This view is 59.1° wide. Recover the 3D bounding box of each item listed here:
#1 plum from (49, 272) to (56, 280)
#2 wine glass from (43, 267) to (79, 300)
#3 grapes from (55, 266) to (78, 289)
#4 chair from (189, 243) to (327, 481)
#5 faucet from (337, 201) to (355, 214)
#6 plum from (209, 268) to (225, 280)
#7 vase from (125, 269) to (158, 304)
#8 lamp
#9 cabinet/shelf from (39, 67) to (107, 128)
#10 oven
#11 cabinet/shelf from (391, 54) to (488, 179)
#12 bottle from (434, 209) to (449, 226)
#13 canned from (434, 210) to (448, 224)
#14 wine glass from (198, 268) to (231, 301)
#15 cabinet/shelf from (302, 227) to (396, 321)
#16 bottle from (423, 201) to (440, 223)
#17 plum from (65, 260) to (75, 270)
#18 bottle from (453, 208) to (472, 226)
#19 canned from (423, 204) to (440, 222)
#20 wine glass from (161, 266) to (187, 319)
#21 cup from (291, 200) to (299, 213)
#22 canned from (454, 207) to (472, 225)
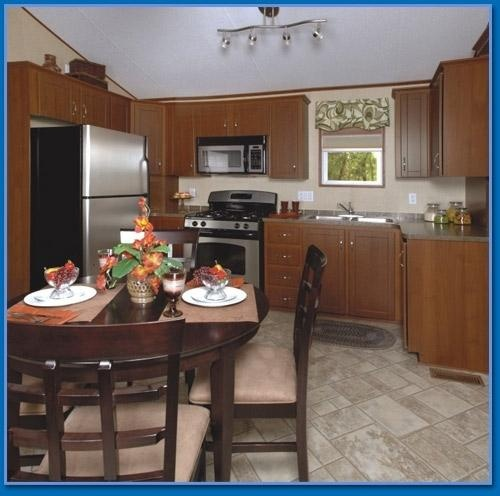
[{"bbox_3d":[-0.816,0.109,1.808,0.030,0.031,0.017,1,6,6],"label":"plum"},{"bbox_3d":[-0.813,0.143,1.881,0.136,0.128,0.131,2,9,1],"label":"wine glass"},{"bbox_3d":[-0.773,0.123,1.859,0.081,0.062,0.076,3,5,4],"label":"grapes"},{"bbox_3d":[0.083,0.434,2.364,0.814,1.405,0.823,1,1,2],"label":"chair"},{"bbox_3d":[0.949,-0.397,4.326,0.173,0.120,0.167,2,10,11],"label":"faucet"},{"bbox_3d":[-0.134,0.102,1.862,0.052,0.077,0.053,-3,7,-2],"label":"plum"},{"bbox_3d":[-0.452,0.152,1.848,0.112,0.121,0.115,-4,8,-19],"label":"vase"},{"bbox_3d":[0.146,-1.727,3.533,0.929,0.241,0.756,1,10,10],"label":"lamp"},{"bbox_3d":[-1.576,-1.269,3.888,0.177,0.373,0.996,6,10,17],"label":"cabinet/shelf"},{"bbox_3d":[-0.312,0.153,4.348,0.708,0.696,0.400,5,-16,-13],"label":"oven"},{"bbox_3d":[1.531,-0.940,3.428,0.562,0.769,1.148,-3,9,5],"label":"cabinet/shelf"},{"bbox_3d":[1.604,-0.267,3.648,0.120,0.121,0.117,2,4,27],"label":"bottle"},{"bbox_3d":[1.602,-0.268,3.642,0.102,0.108,0.109,3,6,37],"label":"canned"},{"bbox_3d":[-0.141,0.141,1.896,0.120,0.137,0.124,2,21,8],"label":"wine glass"},{"bbox_3d":[0.920,0.156,4.004,0.880,0.861,0.341,3,15,26],"label":"cabinet/shelf"},{"bbox_3d":[1.538,-0.314,3.772,0.125,0.167,0.170,1,2,15],"label":"bottle"},{"bbox_3d":[-0.963,0.081,2.341,0.047,0.041,0.047,11,30,22],"label":"plum"},{"bbox_3d":[1.679,-0.246,3.523,0.164,0.166,0.126,3,-1,-23],"label":"bottle"},{"bbox_3d":[1.565,-0.314,3.793,0.119,0.154,0.158,0,2,3],"label":"canned"},{"bbox_3d":[-0.299,0.170,1.698,0.103,0.173,0.109,0,1,19],"label":"wine glass"},{"bbox_3d":[0.454,-0.413,4.357,0.064,0.108,0.094,-1,9,-6],"label":"cup"},{"bbox_3d":[1.688,-0.257,3.509,0.147,0.151,0.128,2,1,2],"label":"canned"}]
